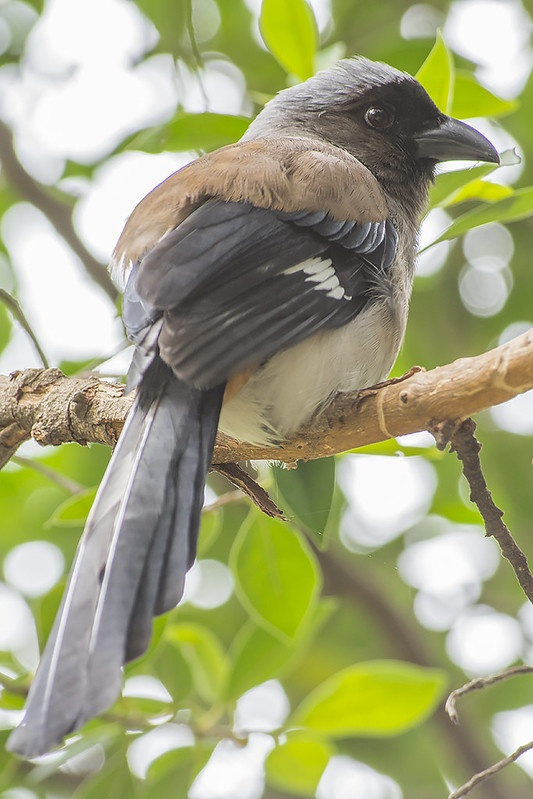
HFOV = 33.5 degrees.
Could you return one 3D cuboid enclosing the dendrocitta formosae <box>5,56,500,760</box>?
[{"bbox_3d":[0.029,-0.334,2.851,0.774,2.630,1.530,-20,-25,38],"label":"dendrocitta formosae"}]
